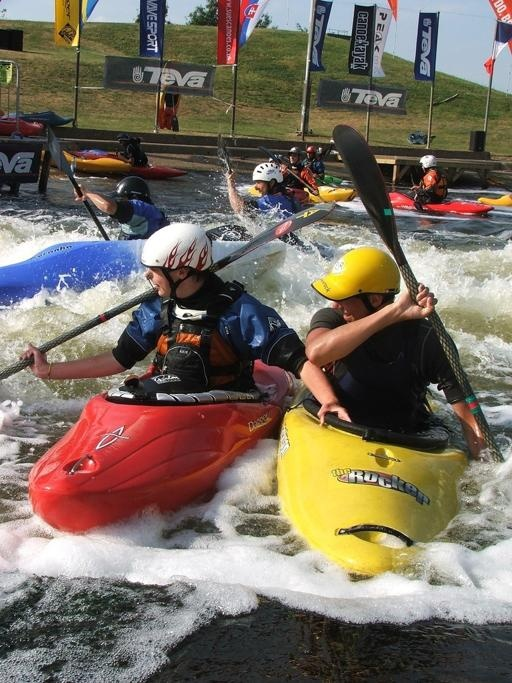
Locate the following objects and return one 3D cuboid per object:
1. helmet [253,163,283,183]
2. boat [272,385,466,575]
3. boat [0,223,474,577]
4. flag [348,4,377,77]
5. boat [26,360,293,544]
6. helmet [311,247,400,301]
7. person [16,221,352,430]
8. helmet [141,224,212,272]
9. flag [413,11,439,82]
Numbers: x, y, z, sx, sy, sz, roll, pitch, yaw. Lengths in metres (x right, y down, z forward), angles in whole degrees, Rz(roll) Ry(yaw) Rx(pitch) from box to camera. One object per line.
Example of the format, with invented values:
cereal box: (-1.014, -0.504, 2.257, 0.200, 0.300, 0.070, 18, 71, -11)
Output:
helmet: (0.147, -2.242, 8.106, 0.283, 0.273, 0.424, 4, 13, 17)
boat: (0.441, 0.396, 2.523, 0.712, 0.246, 1.118, 10, 42, -2)
boat: (0.075, 0.125, 2.229, 1.335, 0.339, 1.445, 7, 13, 19)
flag: (3.343, -9.500, 19.477, 0.766, 2.163, 0.753, 2, 14, 9)
boat: (-0.334, 0.389, 2.944, 0.701, 0.371, 1.909, 8, 12, 20)
helmet: (0.418, -0.306, 2.590, 0.412, 0.171, 0.235, -2, 26, -6)
person: (-0.519, -0.107, 3.686, 2.070, 1.146, 0.775, -5, -4, 34)
helmet: (-0.358, -0.395, 2.653, 0.334, 0.198, 0.222, -6, 24, -23)
flag: (5.509, -9.601, 20.021, 0.098, 2.215, 0.805, -37, 50, -22)
